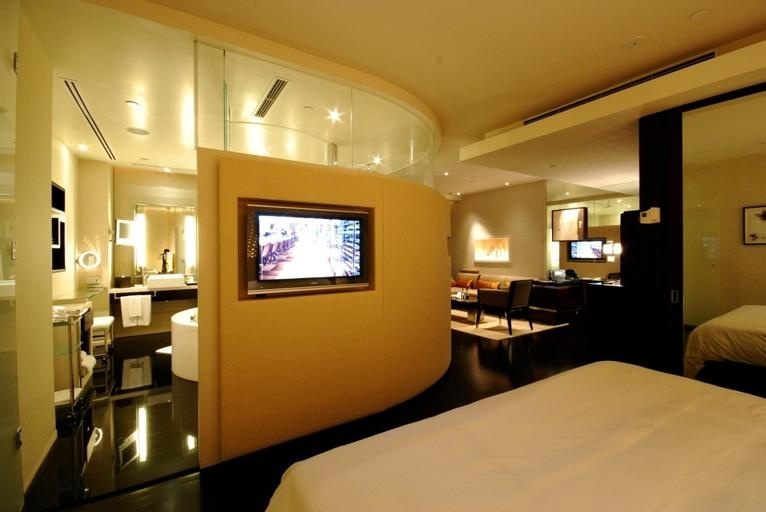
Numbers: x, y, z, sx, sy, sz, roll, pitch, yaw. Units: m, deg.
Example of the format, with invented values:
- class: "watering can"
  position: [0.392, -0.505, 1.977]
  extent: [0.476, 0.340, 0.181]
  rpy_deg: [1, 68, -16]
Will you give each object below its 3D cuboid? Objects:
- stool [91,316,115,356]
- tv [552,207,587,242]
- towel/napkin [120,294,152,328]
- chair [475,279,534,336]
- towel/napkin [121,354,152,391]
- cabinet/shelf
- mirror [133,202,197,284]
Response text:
- class: "stool"
  position: [-4.126, 1.152, 7.748]
  extent: [0.431, 0.528, 0.796]
  rpy_deg: [-1, 4, -27]
- class: "tv"
  position: [3.999, -0.686, 11.178]
  extent: [0.677, 0.685, 0.231]
  rpy_deg: [1, 5, 36]
- class: "towel/napkin"
  position: [-3.901, 0.846, 8.319]
  extent: [0.504, 0.664, 0.341]
  rpy_deg: [-4, 6, -34]
- class: "chair"
  position: [2.316, 0.863, 9.667]
  extent: [0.905, 1.196, 0.969]
  rpy_deg: [-1, 2, -41]
- class: "towel/napkin"
  position: [-3.395, 1.620, 7.293]
  extent: [0.303, 0.128, 0.534]
  rpy_deg: [0, 5, -36]
- class: "cabinet/shelf"
  position: [-3.682, 1.380, 6.258]
  extent: [0.475, 1.399, 1.444]
  rpy_deg: [-3, 2, -24]
- class: "mirror"
  position: [-3.884, -0.248, 9.276]
  extent: [1.409, 1.979, 0.079]
  rpy_deg: [0, 0, -38]
